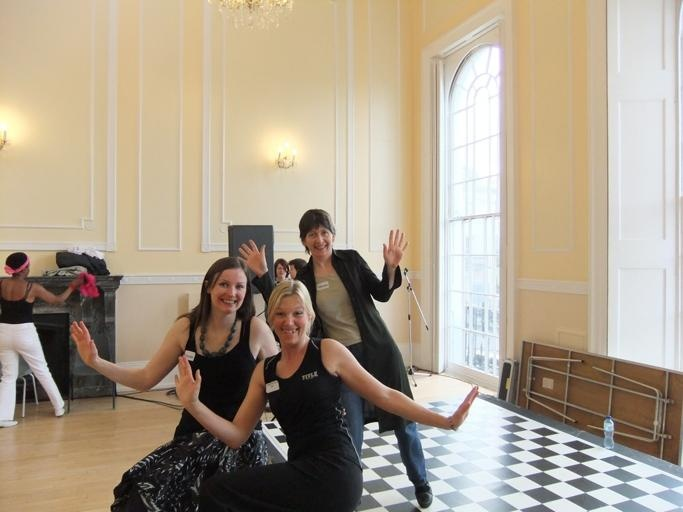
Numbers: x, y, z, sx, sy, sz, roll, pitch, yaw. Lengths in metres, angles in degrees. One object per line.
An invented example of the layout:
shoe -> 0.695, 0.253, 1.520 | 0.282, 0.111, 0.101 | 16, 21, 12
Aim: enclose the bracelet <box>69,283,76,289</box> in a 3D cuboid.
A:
bracelet -> -3.058, 0.348, 5.622 | 0.048, 0.038, 0.049 | 2, -1, -15
